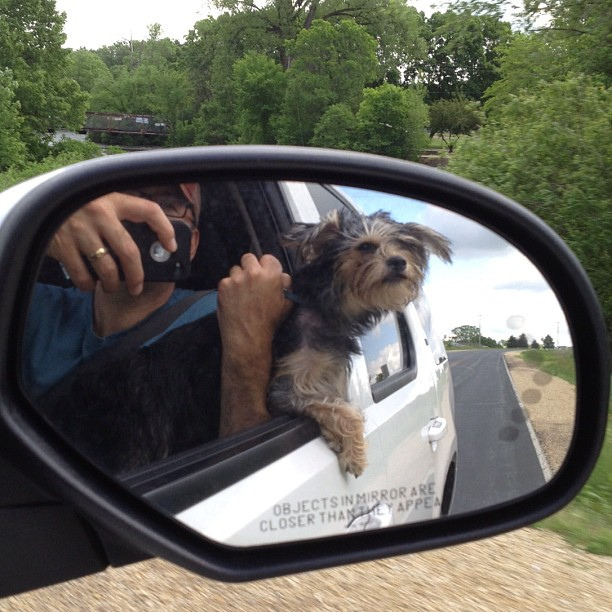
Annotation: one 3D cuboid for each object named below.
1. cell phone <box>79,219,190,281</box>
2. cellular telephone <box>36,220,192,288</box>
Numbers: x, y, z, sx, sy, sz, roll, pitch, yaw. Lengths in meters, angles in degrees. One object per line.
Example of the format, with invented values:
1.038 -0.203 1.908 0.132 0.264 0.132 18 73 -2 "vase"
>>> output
-0.278 -0.075 0.933 0.171 0.081 0.036 -6 18 -17 "cell phone"
-0.309 -0.087 0.944 0.243 0.116 0.069 -1 3 -23 "cellular telephone"
